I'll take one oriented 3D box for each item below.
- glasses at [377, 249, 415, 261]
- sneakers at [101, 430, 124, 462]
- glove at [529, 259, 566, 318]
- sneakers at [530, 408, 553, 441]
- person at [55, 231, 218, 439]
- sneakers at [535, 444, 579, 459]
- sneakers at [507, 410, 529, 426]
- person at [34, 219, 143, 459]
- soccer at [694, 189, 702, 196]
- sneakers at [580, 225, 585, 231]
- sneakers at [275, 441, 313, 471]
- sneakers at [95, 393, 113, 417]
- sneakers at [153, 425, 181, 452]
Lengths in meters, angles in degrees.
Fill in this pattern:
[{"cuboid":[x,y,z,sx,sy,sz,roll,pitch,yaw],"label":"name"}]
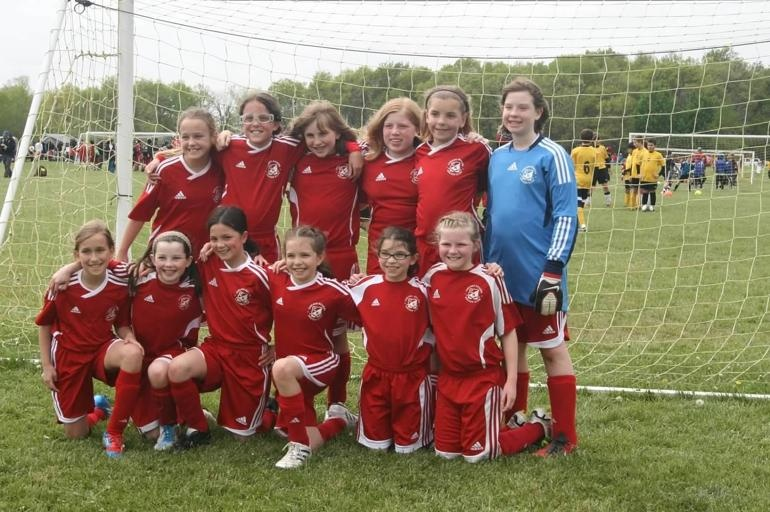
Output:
[{"cuboid":[0.096,-0.016,7.133,0.281,0.080,0.083,2,4,-2],"label":"glasses"},{"cuboid":[-2.328,1.607,6.996,0.100,0.127,0.294,20,-3,-40],"label":"sneakers"},{"cuboid":[1.403,0.252,6.911,0.290,0.464,0.260,2,4,-10],"label":"glove"},{"cuboid":[1.419,1.482,7.347,0.152,0.293,0.123,-19,-18,0],"label":"sneakers"},{"cuboid":[-2.210,0.732,7.247,1.720,1.585,0.976,6,-2,-16],"label":"person"},{"cuboid":[1.483,1.651,7.043,0.348,0.105,0.125,0,0,-12],"label":"sneakers"},{"cuboid":[1.220,1.482,7.436,0.162,0.120,0.134,-1,36,3],"label":"sneakers"},{"cuboid":[-2.571,0.671,7.217,0.915,1.963,0.520,4,4,31],"label":"person"},{"cuboid":[6.568,-1.349,17.085,0.149,0.102,0.256,13,-2,6],"label":"soccer"},{"cuboid":[3.586,-0.524,14.759,0.121,0.112,0.082,4,-6,-37],"label":"sneakers"},{"cuboid":[-0.783,1.677,6.941,0.255,0.184,0.247,3,4,10],"label":"sneakers"},{"cuboid":[-2.621,1.376,7.594,0.259,0.094,0.109,49,-1,44],"label":"sneakers"},{"cuboid":[-1.908,1.565,7.133,0.208,0.191,0.161,1,4,-14],"label":"sneakers"}]
